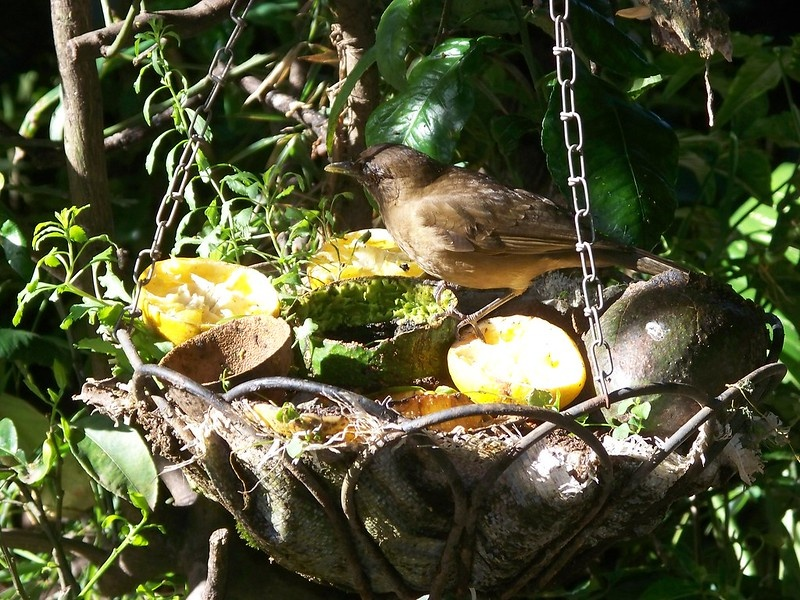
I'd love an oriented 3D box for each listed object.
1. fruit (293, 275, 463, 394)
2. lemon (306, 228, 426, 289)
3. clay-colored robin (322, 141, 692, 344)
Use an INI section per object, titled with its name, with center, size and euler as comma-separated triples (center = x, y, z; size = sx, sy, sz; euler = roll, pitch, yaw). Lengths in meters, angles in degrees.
[fruit]
center = -0.070, 0.026, 2.259
size = 0.256, 0.105, 0.279
euler = -22, 30, -38
[lemon]
center = -0.093, -0.096, 2.473
size = 0.166, 0.111, 0.181
euler = -1, 5, 7
[clay-colored robin]
center = 0.131, -0.145, 2.436
size = 0.954, 0.478, 0.325
euler = -7, -1, 9
